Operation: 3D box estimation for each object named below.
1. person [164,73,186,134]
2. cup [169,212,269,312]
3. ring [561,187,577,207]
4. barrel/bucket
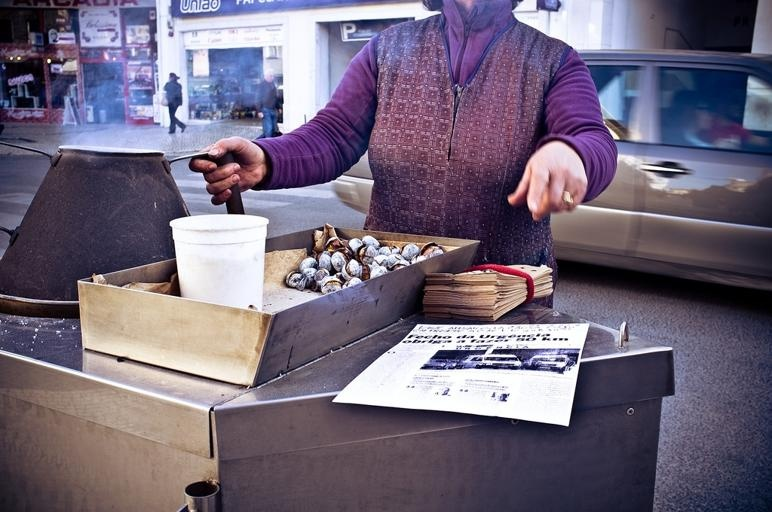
[{"bbox_3d":[-6.256,-4.508,16.789,0.480,1.737,1.246,-4,14,-20],"label":"person"},{"bbox_3d":[-0.384,-0.001,1.448,0.245,0.232,0.241,-3,6,0],"label":"cup"},{"bbox_3d":[0.429,-0.137,1.347,0.043,0.013,0.041,23,37,-18],"label":"ring"},{"bbox_3d":[-0.382,0.005,1.449,0.245,0.233,0.241,-3,6,0],"label":"barrel/bucket"}]
